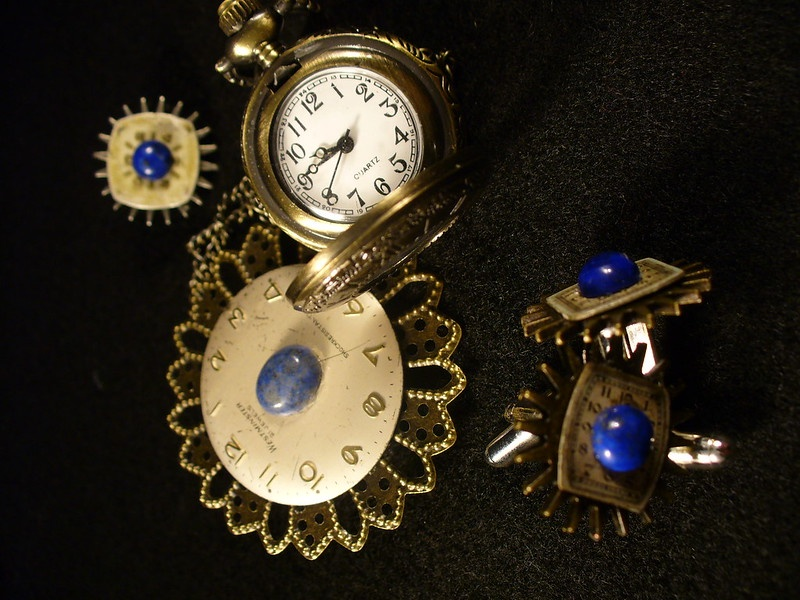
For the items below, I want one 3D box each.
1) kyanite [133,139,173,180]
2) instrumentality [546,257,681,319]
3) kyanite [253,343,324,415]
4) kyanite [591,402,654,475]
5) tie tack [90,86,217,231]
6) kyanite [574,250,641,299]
[{"bbox_3d":[-0.688,-0.387,2.844,0.102,0.052,0.106,11,84,7],"label":"kyanite"},{"bbox_3d":[0.500,-0.019,2.373,0.233,0.029,0.153,-29,33,-4],"label":"instrumentality"},{"bbox_3d":[-0.293,0.215,2.669,0.142,0.097,0.180,-23,50,26],"label":"kyanite"},{"bbox_3d":[0.500,0.314,2.315,0.140,0.050,0.143,-28,80,1],"label":"kyanite"},{"bbox_3d":[-0.655,-0.361,3.019,0.344,0.354,0.360,26,93,5],"label":"tie tack"},{"bbox_3d":[0.495,-0.065,2.401,0.111,0.110,0.069,-15,98,-31],"label":"kyanite"}]
